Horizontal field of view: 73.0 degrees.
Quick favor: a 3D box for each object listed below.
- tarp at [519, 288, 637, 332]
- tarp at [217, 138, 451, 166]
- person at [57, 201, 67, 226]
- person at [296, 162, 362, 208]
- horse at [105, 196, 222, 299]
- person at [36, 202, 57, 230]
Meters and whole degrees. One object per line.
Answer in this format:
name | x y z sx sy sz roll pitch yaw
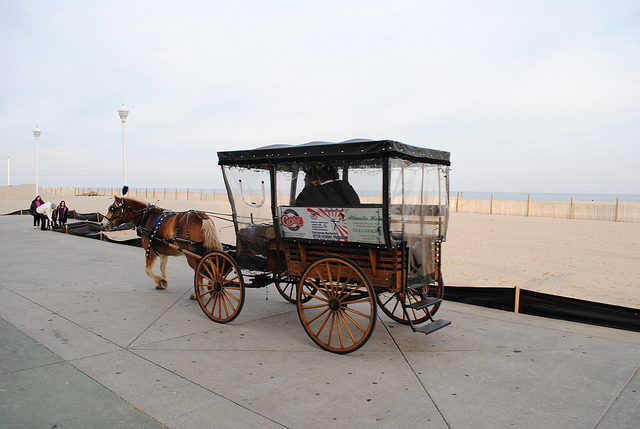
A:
tarp | 5.408 2.055 9.141 2.200 0.554 0.168 8 14 32
tarp | 0.087 -1.158 8.300 4.011 0.538 1.380 4 11 18
person | -14.905 -0.025 24.804 0.459 1.205 1.091 -6 14 -27
person | 0.153 -0.539 8.212 1.056 0.804 0.686 7 13 27
horse | -3.991 0.756 11.045 4.061 2.081 1.027 4 4 30
person | -15.625 0.115 24.613 0.841 1.369 1.146 -7 14 -32
